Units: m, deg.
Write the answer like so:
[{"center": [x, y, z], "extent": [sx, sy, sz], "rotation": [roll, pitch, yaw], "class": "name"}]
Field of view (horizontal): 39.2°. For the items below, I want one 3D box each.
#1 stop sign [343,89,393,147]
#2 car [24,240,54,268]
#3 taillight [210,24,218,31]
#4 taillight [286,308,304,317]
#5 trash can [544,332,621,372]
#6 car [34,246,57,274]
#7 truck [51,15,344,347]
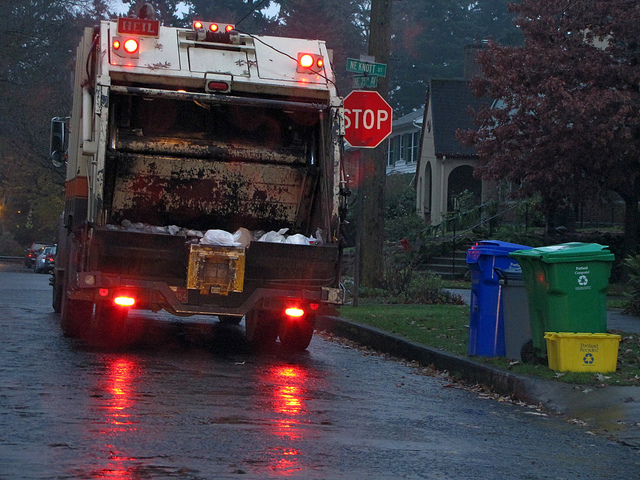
[{"center": [0.790, -2.091, 15.291], "extent": [0.800, 0.983, 0.512], "rotation": [3, 3, 0], "class": "stop sign"}, {"center": [-12.612, 0.659, 40.290], "extent": [1.044, 1.068, 2.247], "rotation": [0, 4, -9], "class": "car"}, {"center": [-1.434, -2.879, 12.074], "extent": [0.086, 0.096, 0.033], "rotation": [7, -4, -2], "class": "taillight"}, {"center": [-0.324, 0.895, 11.198], "extent": [0.210, 0.087, 0.083], "rotation": [3, 3, -1], "class": "taillight"}, {"center": [2.981, 1.268, 10.133], "extent": [0.579, 0.314, 0.477], "rotation": [0, -3, 1], "class": "trash can"}, {"center": [-10.729, 0.795, 35.016], "extent": [0.941, 0.866, 2.136], "rotation": [0, 5, -17], "class": "car"}, {"center": [-2.026, -1.042, 13.678], "extent": [3.228, 4.283, 6.549], "rotation": [3, 9, -15], "class": "truck"}]
